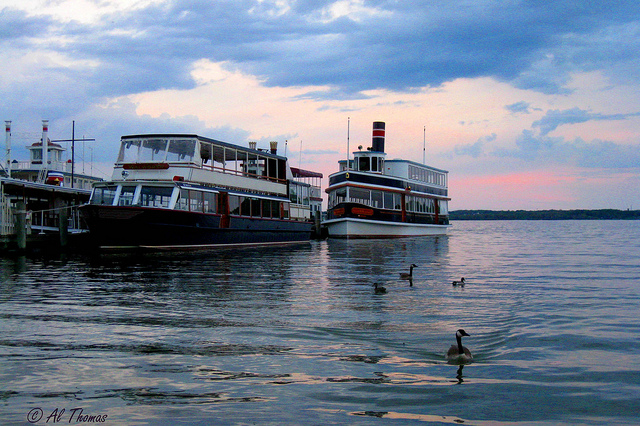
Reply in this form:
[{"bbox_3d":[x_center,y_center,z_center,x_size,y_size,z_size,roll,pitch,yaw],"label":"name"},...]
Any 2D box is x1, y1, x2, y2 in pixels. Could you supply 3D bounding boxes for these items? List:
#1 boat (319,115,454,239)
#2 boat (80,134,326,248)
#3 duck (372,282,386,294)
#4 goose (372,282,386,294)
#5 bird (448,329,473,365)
[{"bbox_3d":[3.769,-0.888,67.245,6.721,6.673,15.350,-2,-5,32],"label":"boat"},{"bbox_3d":[-5.895,-0.746,48.378,6.036,5.698,23.218,-3,-6,28],"label":"boat"},{"bbox_3d":[2.015,2.586,28.011,0.470,0.240,0.197,5,-8,-8],"label":"duck"},{"bbox_3d":[2.009,2.584,28.036,0.434,0.213,0.182,5,-8,-10],"label":"goose"},{"bbox_3d":[3.546,3.356,21.046,0.607,0.804,0.606,1,-3,8],"label":"bird"}]
